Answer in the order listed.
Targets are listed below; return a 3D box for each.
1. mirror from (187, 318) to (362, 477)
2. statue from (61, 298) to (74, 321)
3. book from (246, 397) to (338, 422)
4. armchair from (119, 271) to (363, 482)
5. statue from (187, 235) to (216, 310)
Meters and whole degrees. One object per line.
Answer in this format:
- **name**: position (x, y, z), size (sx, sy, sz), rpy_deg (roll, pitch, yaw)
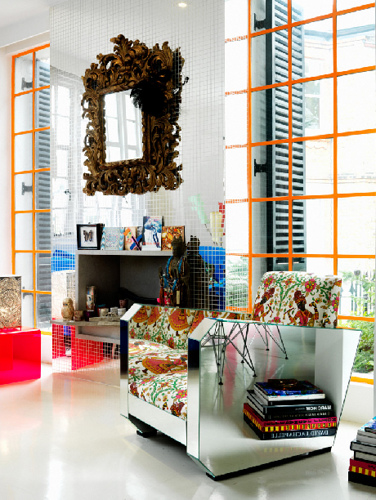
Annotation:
- **mirror**: position (0.403, 0.621, 1.997), size (0.851, 0.672, 0.248), rpy_deg (2, -6, -28)
- **statue**: position (-1.033, 0.503, 3.885), size (0.117, 0.189, 0.090), rpy_deg (0, -5, -6)
- **book**: position (0.461, 0.720, 2.063), size (0.188, 0.032, 0.188), rpy_deg (0, -2, -5)
- **armchair**: position (0.256, 0.577, 2.402), size (1.131, 0.847, 1.090), rpy_deg (-1, -1, -11)
- **statue**: position (0.111, 0.145, 3.305), size (0.172, 0.520, 0.119), rpy_deg (-6, 6, -40)
